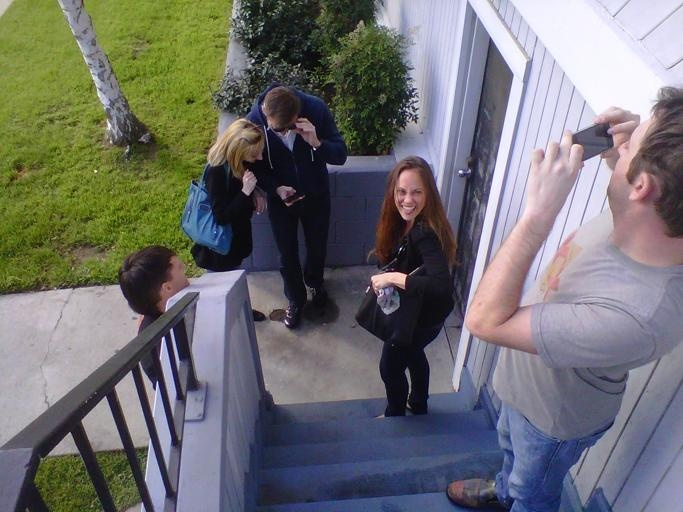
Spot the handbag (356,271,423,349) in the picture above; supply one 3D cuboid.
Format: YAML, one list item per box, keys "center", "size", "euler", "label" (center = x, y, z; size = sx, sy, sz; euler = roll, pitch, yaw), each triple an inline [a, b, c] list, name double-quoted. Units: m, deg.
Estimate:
- center: [0.290, 0.318, 2.994]
  size: [0.421, 0.405, 0.172]
  euler: [23, 43, 31]
  label: "handbag"

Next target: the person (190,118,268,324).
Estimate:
- center: [-0.834, -0.245, 3.718]
  size: [0.712, 1.922, 0.808]
  euler: [-4, 65, -16]
  label: "person"

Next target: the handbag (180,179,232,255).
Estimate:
- center: [-1.083, -0.309, 3.871]
  size: [0.285, 0.624, 0.527]
  euler: [-19, 53, -40]
  label: "handbag"

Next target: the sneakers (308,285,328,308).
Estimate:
- center: [-0.233, 0.427, 4.949]
  size: [0.123, 0.110, 0.277]
  euler: [-9, 79, 1]
  label: "sneakers"

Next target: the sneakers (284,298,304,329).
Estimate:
- center: [-0.480, 0.535, 4.781]
  size: [0.117, 0.150, 0.386]
  euler: [6, 52, -1]
  label: "sneakers"

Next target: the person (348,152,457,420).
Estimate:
- center: [0.477, 0.266, 3.621]
  size: [0.859, 2.498, 1.001]
  euler: [1, 37, 2]
  label: "person"
